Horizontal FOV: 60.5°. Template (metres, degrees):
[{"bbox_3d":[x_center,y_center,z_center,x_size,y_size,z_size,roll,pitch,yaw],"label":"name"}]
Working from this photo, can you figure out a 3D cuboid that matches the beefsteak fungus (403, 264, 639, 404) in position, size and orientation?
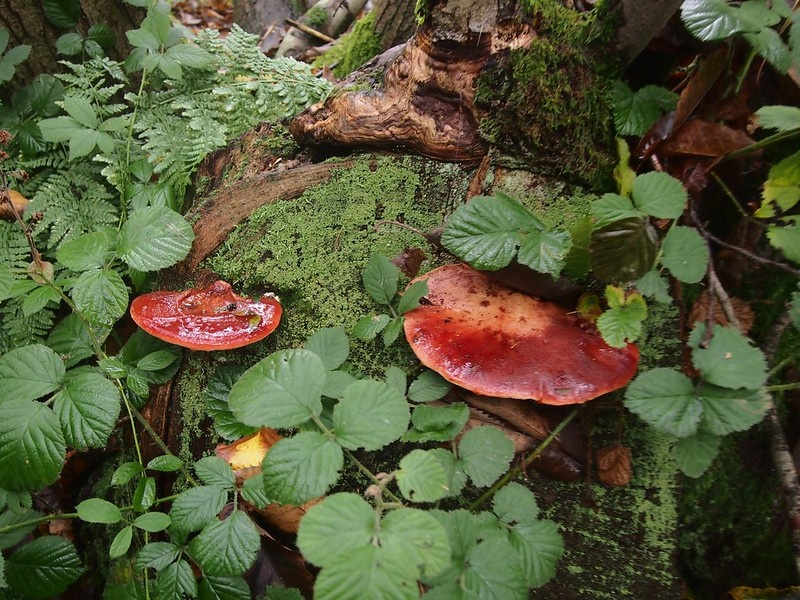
[{"bbox_3d":[0.530,0.201,3.251,1.075,0.294,0.617,30,52,5],"label":"beefsteak fungus"}]
